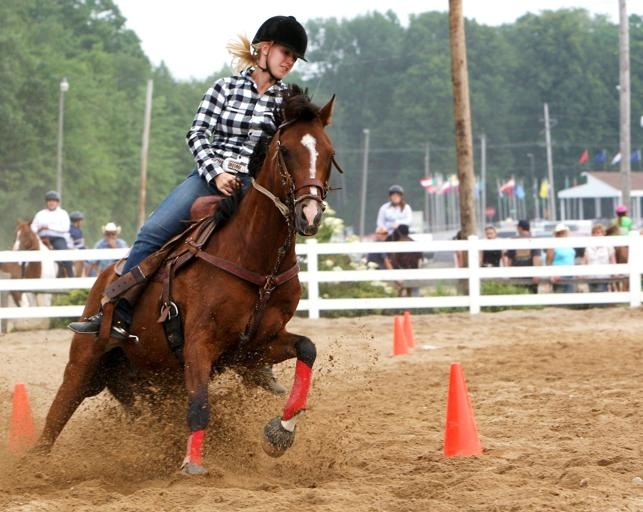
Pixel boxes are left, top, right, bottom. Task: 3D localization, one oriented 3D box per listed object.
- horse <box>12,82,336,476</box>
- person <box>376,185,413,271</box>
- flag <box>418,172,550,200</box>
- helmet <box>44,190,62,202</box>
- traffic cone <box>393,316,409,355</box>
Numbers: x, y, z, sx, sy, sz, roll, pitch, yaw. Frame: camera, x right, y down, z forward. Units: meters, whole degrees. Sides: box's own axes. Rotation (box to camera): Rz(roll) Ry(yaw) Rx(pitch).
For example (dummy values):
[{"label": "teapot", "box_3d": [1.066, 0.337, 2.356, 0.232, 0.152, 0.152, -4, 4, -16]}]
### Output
[{"label": "horse", "box_3d": [-1.712, 0.201, 26.822, 5.140, 8.599, 7.532, -7, 16, -34]}, {"label": "person", "box_3d": [1.991, -1.155, 33.959, 0.925, 1.489, 1.083, 0, 2, 4]}, {"label": "flag", "box_3d": [8.421, -3.407, 60.711, 7.275, 1.872, 0.447, 0, 13, 5]}, {"label": "helmet", "box_3d": [-7.622, -1.650, 34.606, 0.444, 0.418, 0.550, -1, 1, -8]}, {"label": "traffic cone", "box_3d": [1.921, 1.906, 29.663, 0.382, 0.915, 0.721, 0, 2, 4]}]
